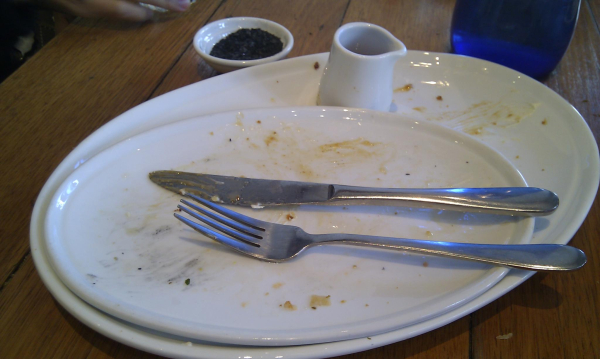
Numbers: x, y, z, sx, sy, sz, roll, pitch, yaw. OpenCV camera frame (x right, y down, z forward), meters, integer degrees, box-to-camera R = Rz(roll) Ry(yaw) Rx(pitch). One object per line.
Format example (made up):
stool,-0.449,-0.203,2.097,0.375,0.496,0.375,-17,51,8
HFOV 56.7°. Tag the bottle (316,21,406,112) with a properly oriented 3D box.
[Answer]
bottle,0.110,-0.267,1.353,0.231,0.225,0.171,-14,63,-9

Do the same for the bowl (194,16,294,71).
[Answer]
bowl,-0.152,-0.386,1.489,0.202,0.060,0.200,0,43,0
